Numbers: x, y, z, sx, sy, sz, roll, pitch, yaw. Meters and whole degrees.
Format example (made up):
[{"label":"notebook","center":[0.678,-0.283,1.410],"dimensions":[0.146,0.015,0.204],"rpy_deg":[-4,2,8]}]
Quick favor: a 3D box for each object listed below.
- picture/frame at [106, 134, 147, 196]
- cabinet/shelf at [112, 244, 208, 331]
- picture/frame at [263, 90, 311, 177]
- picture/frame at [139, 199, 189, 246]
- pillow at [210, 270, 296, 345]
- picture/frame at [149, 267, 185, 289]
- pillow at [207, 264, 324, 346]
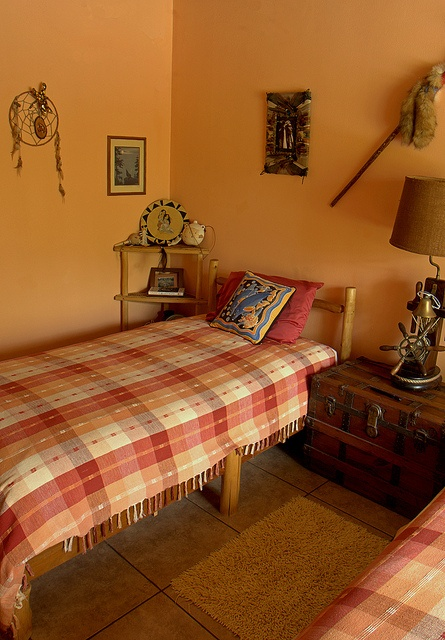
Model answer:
[{"label":"picture/frame","center":[-0.670,-1.082,3.364],"dimensions":[0.432,0.467,0.048],"rpy_deg":[-14,27,-39]},{"label":"cabinet/shelf","center":[-0.507,-0.331,3.765],"dimensions":[0.747,0.823,0.537],"rpy_deg":[-8,21,-25]},{"label":"picture/frame","center":[0.399,-1.115,2.927],"dimensions":[0.295,0.484,0.042],"rpy_deg":[8,20,25]},{"label":"picture/frame","center":[-0.425,-0.712,3.570],"dimensions":[0.352,0.326,0.153],"rpy_deg":[0,11,-4]},{"label":"pillow","center":[0.176,-0.068,2.752],"dimensions":[0.110,0.386,0.405],"rpy_deg":[37,-5,-37]},{"label":"picture/frame","center":[-0.420,-0.310,3.654],"dimensions":[0.175,0.162,0.012],"rpy_deg":[3,-8,-10]},{"label":"pillow","center":[0.358,-0.018,2.817],"dimensions":[0.593,0.460,0.166],"rpy_deg":[17,-26,30]}]
